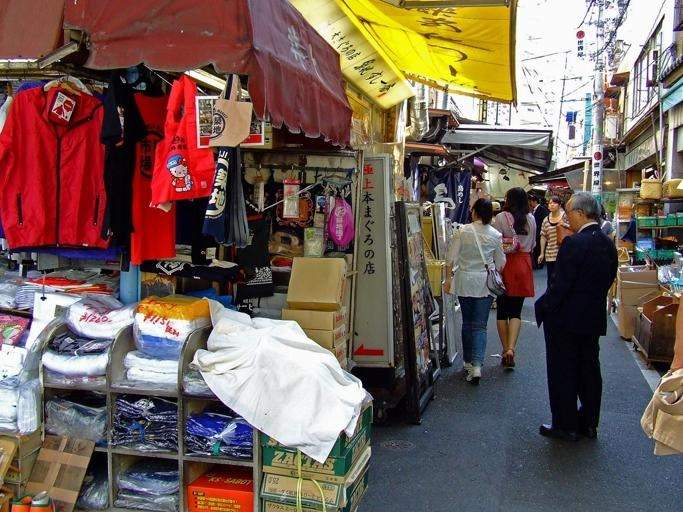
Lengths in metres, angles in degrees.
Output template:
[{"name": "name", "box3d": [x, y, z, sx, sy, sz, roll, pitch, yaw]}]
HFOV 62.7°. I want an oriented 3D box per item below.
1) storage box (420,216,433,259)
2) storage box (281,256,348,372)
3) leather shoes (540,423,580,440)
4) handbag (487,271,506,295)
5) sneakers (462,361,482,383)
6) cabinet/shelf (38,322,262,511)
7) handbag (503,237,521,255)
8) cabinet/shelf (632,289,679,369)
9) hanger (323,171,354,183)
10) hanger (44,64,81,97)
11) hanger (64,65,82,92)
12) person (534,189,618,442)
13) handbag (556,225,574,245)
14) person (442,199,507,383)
[{"name": "storage box", "box3d": [1.490, -0.347, 9.618, 0.198, 0.662, 0.843, 1, 7, 8]}, {"name": "storage box", "box3d": [-0.226, 0.531, 5.194, 0.561, 1.031, 0.895, 0, 7, 2]}, {"name": "leather shoes", "box3d": [2.173, 1.715, 5.568, 0.338, 0.163, 0.127, 0, -2, 34]}, {"name": "handbag", "box3d": [1.986, 0.344, 7.211, 0.120, 0.299, 0.275, -9, -12, 24]}, {"name": "sneakers", "box3d": [1.719, 1.510, 7.316, 0.133, 0.182, 0.366, 0, 1, 1]}, {"name": "cabinet/shelf", "box3d": [-1.141, 1.165, 4.026, 1.147, 1.269, 0.370, 1, 6, 8]}, {"name": "handbag", "box3d": [2.364, -0.153, 7.808, 0.190, 0.216, 0.100, 3, 13, 3]}, {"name": "cabinet/shelf", "box3d": [4.200, 0.987, 7.476, 0.388, 0.867, 1.099, 2, 3, 11]}, {"name": "hanger", "box3d": [-0.032, -0.862, 6.033, 0.333, 0.164, 0.149, -1, 7, -2]}, {"name": "hanger", "box3d": [-2.097, -1.337, 4.269, 0.225, 0.165, 0.227, 3, 8, 23]}, {"name": "hanger", "box3d": [-2.031, -1.377, 4.294, 0.158, 0.149, 0.128, 17, 17, -22]}, {"name": "person", "box3d": [2.273, 0.600, 5.478, 0.686, 2.399, 0.350, 1, 6, 13]}, {"name": "handbag", "box3d": [3.017, -0.312, 7.555, 0.266, 0.280, 0.132, 14, 32, 40]}, {"name": "person", "box3d": [1.790, 0.439, 7.329, 0.764, 2.381, 0.551, -5, 8, -37]}]
